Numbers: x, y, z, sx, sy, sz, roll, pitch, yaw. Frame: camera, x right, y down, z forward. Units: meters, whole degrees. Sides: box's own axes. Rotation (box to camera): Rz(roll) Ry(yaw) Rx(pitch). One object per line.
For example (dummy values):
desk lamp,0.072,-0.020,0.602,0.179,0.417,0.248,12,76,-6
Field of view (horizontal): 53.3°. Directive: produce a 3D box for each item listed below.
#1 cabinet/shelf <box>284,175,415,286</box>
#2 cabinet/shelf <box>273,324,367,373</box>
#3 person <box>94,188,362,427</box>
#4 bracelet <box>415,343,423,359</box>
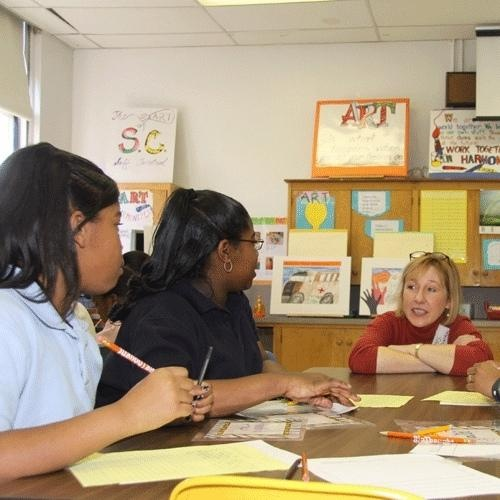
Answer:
cabinet/shelf,0.926,-0.158,4.406,1.219,0.868,0.425,1,-1,6
cabinet/shelf,0.642,0.801,4.434,0.826,0.633,0.435,-1,-9,9
person,-0.022,0.169,1.507,0.824,0.659,0.802,2,7,16
bracelet,0.729,0.434,2.139,0.034,0.055,0.063,0,-6,19
